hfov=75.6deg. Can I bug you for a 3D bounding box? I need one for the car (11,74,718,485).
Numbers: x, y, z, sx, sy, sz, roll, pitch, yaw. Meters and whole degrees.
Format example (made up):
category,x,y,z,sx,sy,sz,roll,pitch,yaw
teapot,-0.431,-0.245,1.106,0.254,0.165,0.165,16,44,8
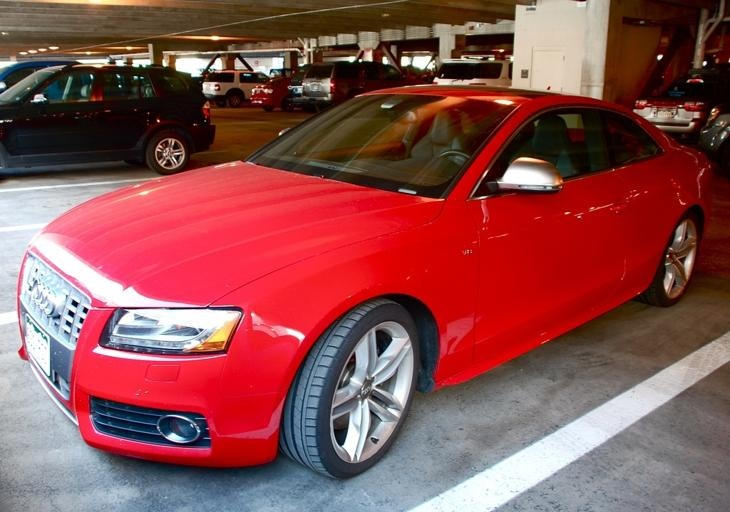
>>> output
category,x,y,z,sx,sy,sz,roll,pitch,yaw
car,0.456,-0.575,3.589,5.038,1.206,2.345,-21,39,-32
